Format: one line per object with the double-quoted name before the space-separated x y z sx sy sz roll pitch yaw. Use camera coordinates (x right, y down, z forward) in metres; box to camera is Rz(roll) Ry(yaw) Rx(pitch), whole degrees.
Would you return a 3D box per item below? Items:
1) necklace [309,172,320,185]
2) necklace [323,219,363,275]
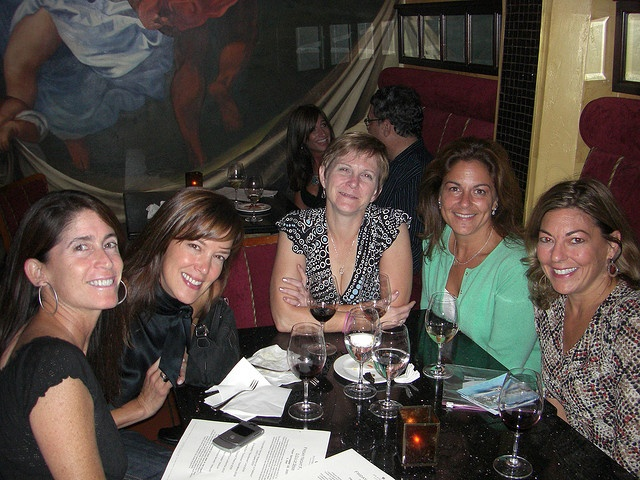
"necklace" -0.047 -0.556 4.387 0.082 0.118 0.027 0 5 8
"necklace" 0.117 0.027 2.436 0.248 0.337 0.039 -1 15 1
